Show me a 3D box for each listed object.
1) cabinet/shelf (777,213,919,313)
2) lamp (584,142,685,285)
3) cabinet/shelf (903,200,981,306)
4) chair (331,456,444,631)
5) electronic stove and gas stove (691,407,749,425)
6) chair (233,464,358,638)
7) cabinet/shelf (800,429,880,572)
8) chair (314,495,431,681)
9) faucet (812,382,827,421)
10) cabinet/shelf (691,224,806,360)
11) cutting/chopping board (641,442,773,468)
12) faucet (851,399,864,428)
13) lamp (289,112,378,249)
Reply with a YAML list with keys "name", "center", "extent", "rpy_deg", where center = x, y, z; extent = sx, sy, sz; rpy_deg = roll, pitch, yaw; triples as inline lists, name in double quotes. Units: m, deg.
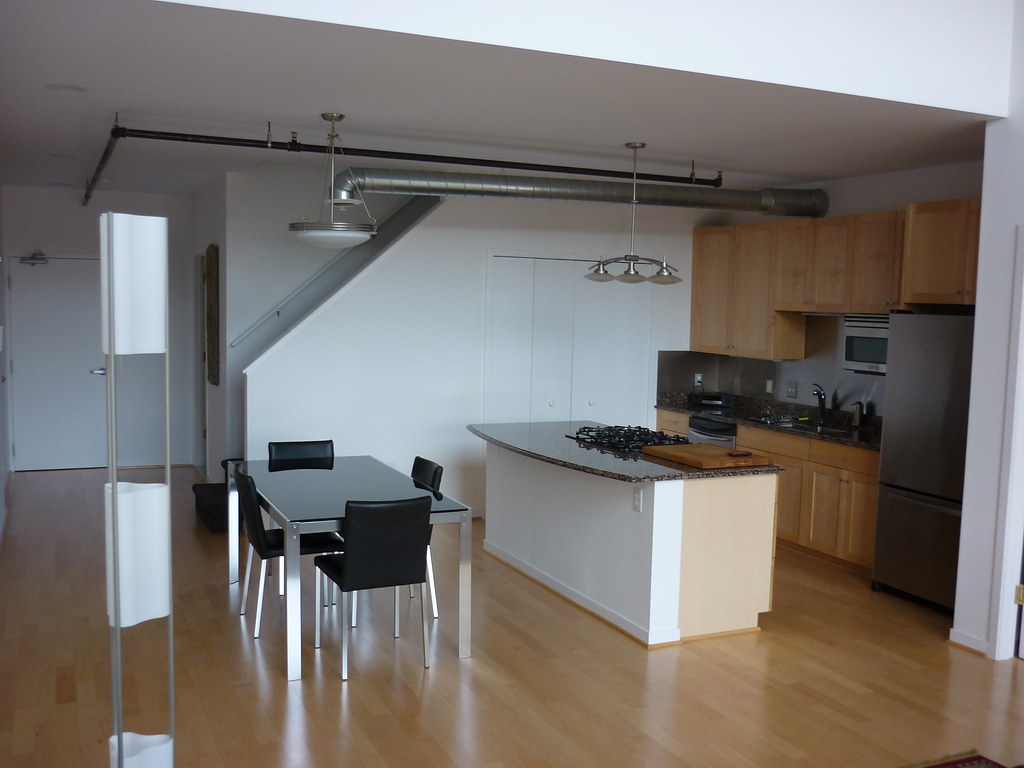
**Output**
- name: "cabinet/shelf"
  center: [3.120, -1.112, 7.417]
  extent: [0.449, 0.880, 1.383]
  rpy_deg: [-5, 9, -26]
- name: "lamp"
  center: [1.047, -1.462, 6.738]
  extent: [0.985, 1.199, 1.001]
  rpy_deg: [-2, 9, -16]
- name: "cabinet/shelf"
  center: [3.508, -1.044, 6.283]
  extent: [0.568, 0.821, 0.440]
  rpy_deg: [-7, 9, -35]
- name: "chair"
  center: [-0.919, 1.035, 5.726]
  extent: [0.837, 1.522, 0.800]
  rpy_deg: [-1, 2, -22]
- name: "electronic stove and gas stove"
  center: [2.112, 0.321, 8.204]
  extent: [0.495, 0.086, 0.941]
  rpy_deg: [3, 8, 12]
- name: "chair"
  center: [-1.526, 1.162, 5.567]
  extent: [0.676, 1.071, 0.653]
  rpy_deg: [-2, -1, -32]
- name: "cabinet/shelf"
  center: [2.840, 0.942, 7.287]
  extent: [0.600, 1.161, 0.962]
  rpy_deg: [-3, 10, -37]
- name: "chair"
  center: [-0.874, 1.199, 5.077]
  extent: [0.606, 1.126, 0.638]
  rpy_deg: [-1, 7, -32]
- name: "faucet"
  center: [3.022, 0.173, 7.796]
  extent: [0.137, 0.333, 0.392]
  rpy_deg: [3, 8, 15]
- name: "cabinet/shelf"
  center: [2.478, -0.959, 8.189]
  extent: [0.475, 1.385, 1.359]
  rpy_deg: [-2, 4, -28]
- name: "cutting/chopping board"
  center: [1.359, 0.515, 5.767]
  extent: [0.568, 0.074, 0.890]
  rpy_deg: [-6, 11, -43]
- name: "faucet"
  center: [3.230, 0.278, 7.423]
  extent: [0.090, 0.221, 0.251]
  rpy_deg: [4, 9, 21]
- name: "lamp"
  center: [-1.289, -1.466, 5.745]
  extent: [0.624, 0.997, 0.657]
  rpy_deg: [0, 4, -7]
